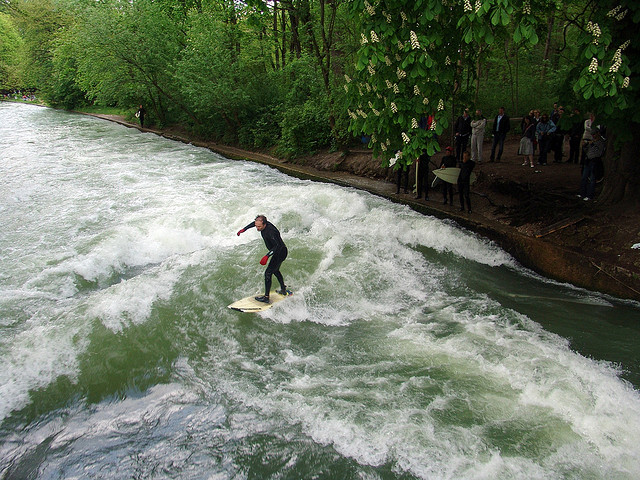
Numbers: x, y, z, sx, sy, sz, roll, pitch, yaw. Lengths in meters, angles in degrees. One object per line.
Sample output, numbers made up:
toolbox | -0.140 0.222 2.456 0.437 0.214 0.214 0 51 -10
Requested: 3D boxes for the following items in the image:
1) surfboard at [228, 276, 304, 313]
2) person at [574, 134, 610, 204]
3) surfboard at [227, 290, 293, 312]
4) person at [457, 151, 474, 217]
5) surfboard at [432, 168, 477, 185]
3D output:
surfboard | -1.257 1.339 11.204 0.606 0.291 2.159 20 26 29
person | 8.684 -2.278 13.460 0.593 1.906 1.208 11 22 31
surfboard | -1.580 1.603 10.881 0.515 0.198 1.790 24 23 36
person | 5.206 -2.074 14.942 0.557 2.101 1.000 3 19 10
surfboard | 4.866 -2.375 15.342 1.793 0.587 0.249 13 8 -10
